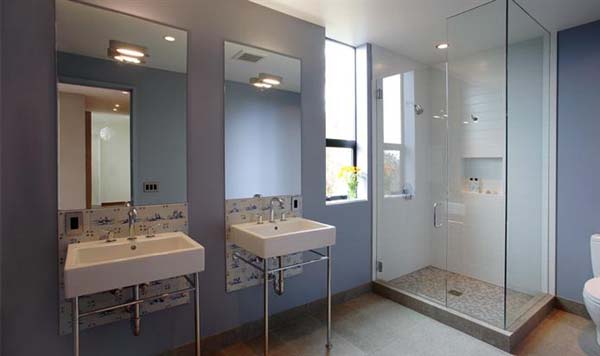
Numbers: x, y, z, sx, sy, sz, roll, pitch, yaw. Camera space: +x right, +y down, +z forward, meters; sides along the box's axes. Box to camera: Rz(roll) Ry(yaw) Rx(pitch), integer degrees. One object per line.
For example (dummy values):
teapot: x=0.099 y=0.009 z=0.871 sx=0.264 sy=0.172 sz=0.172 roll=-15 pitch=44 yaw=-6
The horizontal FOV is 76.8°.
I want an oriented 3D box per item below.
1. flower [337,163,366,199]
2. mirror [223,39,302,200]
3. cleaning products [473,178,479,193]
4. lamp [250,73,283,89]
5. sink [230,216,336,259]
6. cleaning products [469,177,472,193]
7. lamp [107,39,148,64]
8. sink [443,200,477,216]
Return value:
flower: x=0.713 y=0.044 z=5.305 sx=0.499 sy=0.471 sz=0.436 roll=0 pitch=3 yaw=-3
mirror: x=-0.455 y=-0.674 z=4.496 sx=1.022 sy=1.795 sz=0.076 roll=-6 pitch=5 yaw=-28
cleaning products: x=2.112 y=0.094 z=4.524 sx=0.066 sy=0.169 sz=0.023 roll=0 pitch=6 yaw=36
lamp: x=-0.397 y=-1.164 z=4.516 sx=0.239 sy=0.067 sz=0.215 roll=8 pitch=-13 yaw=-38
sink: x=-0.197 y=0.673 z=4.379 sx=0.959 sy=0.218 sz=0.839 roll=-3 pitch=5 yaw=-33
cleaning products: x=2.059 y=0.087 z=4.561 sx=0.041 sy=0.170 sz=0.025 roll=-1 pitch=5 yaw=22
lamp: x=-1.799 y=-1.313 z=3.904 sx=0.288 sy=0.081 sz=0.252 roll=-1 pitch=6 yaw=-42
sink: x=1.934 y=0.383 z=4.625 sx=0.170 sy=0.123 sz=0.247 roll=1 pitch=-1 yaw=-35
